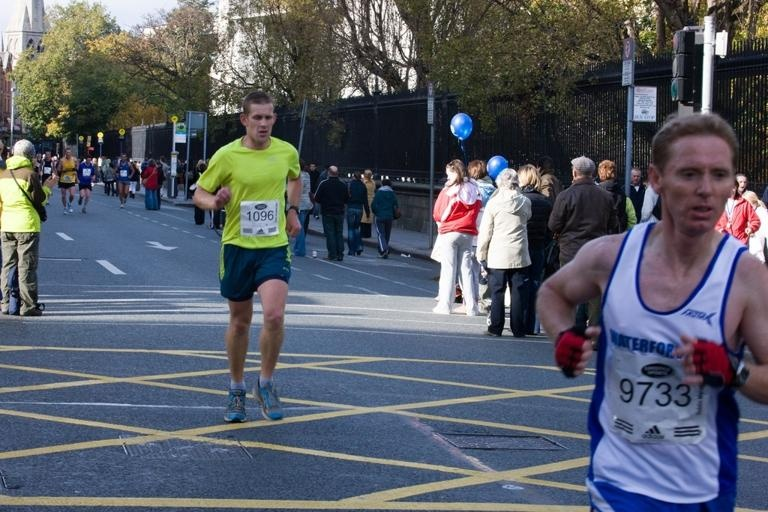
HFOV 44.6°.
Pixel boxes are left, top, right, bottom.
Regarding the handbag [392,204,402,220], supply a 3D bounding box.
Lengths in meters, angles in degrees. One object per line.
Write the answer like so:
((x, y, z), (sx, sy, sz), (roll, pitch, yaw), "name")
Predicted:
((0.429, -1.082, 23.170), (0.337, 0.348, 0.267), (-2, 6, -17), "handbag")

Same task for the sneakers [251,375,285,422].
((-0.917, 1.177, 7.770), (0.176, 0.415, 0.185), (-16, -22, -32), "sneakers")

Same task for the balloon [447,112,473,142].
((1.733, -2.914, 20.867), (0.392, 0.543, 1.041), (1, 6, 2), "balloon")

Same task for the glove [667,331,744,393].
((1.361, 0.433, 3.799), (0.288, 0.203, 0.063), (1, 5, -6), "glove")

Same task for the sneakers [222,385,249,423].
((-1.232, 1.211, 7.794), (0.172, 0.241, 0.497), (1, 7, -7), "sneakers")

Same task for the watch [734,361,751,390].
((1.474, 0.481, 3.827), (0.066, 0.117, 0.052), (-1, -14, 35), "watch")

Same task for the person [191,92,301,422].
((-1.088, 0.015, 7.551), (0.804, 2.690, 0.945), (1, 5, -2), "person")

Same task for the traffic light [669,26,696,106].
((3.819, -2.420, 11.857), (0.256, 0.973, 0.362), (3, 5, 15), "traffic light")

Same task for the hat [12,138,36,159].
((-4.651, -1.400, 12.103), (0.274, 0.365, 0.362), (0, 12, -11), "hat")

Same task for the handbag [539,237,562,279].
((2.029, 0.007, 11.352), (0.180, 0.510, 0.393), (5, 5, -2), "handbag")

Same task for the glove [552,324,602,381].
((0.840, 0.362, 4.002), (0.172, 0.096, 0.225), (-4, 10, -14), "glove")

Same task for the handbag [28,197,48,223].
((-4.469, -0.612, 12.131), (0.237, 0.318, 0.334), (13, -3, -40), "handbag")
